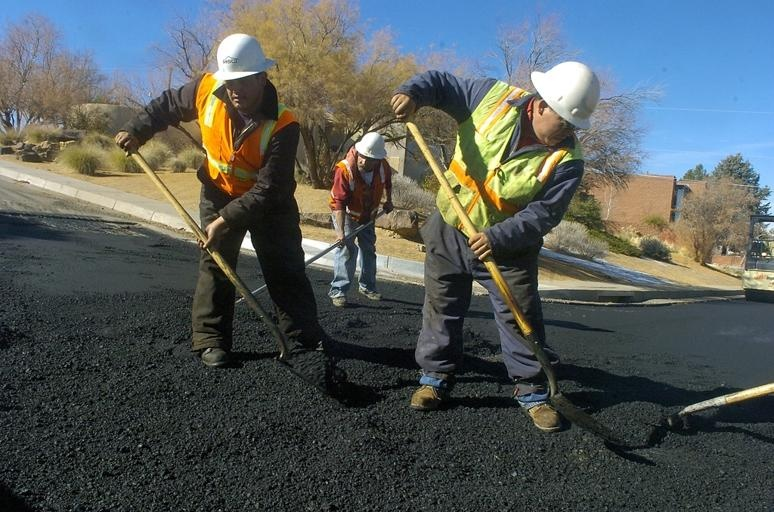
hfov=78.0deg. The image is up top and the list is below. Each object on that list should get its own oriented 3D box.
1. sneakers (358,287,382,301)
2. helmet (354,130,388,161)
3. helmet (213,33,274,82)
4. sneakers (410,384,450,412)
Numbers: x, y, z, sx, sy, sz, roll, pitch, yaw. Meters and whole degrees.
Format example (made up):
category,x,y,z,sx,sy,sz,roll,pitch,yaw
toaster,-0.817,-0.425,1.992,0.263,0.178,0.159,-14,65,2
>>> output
category,x,y,z,sx,sy,sz,roll,pitch,yaw
sneakers,-0.228,0.495,6.429,0.332,0.160,0.135,10,11,38
helmet,-0.193,-1.372,5.927,0.394,0.348,0.287,6,5,-18
helmet,-1.074,-1.457,3.611,0.333,0.222,0.426,-9,34,4
sneakers,0.329,1.113,3.721,0.144,0.138,0.319,16,-5,34
